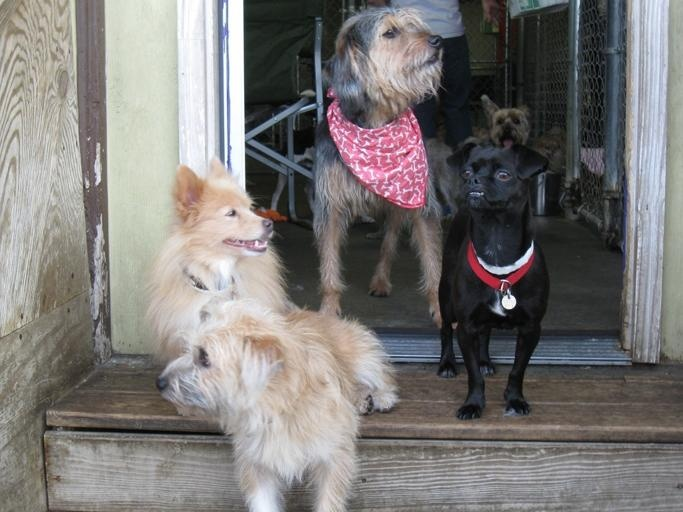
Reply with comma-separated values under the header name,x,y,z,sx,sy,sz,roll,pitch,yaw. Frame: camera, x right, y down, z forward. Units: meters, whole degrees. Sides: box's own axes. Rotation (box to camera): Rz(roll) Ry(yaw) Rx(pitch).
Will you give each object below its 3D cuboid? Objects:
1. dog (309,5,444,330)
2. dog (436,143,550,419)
name,x,y,z,sx,sy,sz,roll,pitch,yaw
dog,0.214,-0.589,5.991,0.796,1.862,0.783,0,11,4
dog,0.740,0.083,4.804,0.509,1.291,0.637,0,11,2
